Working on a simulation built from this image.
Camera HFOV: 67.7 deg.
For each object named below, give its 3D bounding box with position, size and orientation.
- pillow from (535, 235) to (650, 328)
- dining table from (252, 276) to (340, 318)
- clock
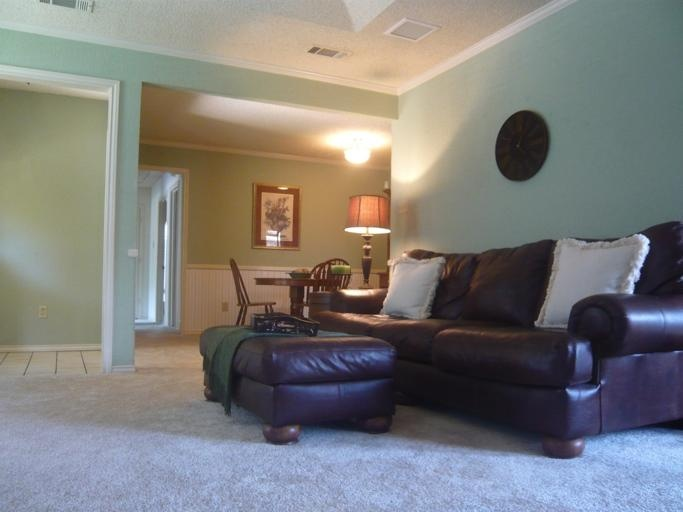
[{"bbox_3d":[1.490,0.099,3.037,0.159,0.572,0.568,24,-10,-25],"label":"pillow"},{"bbox_3d":[-0.578,0.373,5.640,0.592,0.398,0.598,0,-3,20],"label":"dining table"},{"bbox_3d":[1.484,-0.893,4.133,0.074,0.698,0.669,1,0,-28],"label":"clock"}]
